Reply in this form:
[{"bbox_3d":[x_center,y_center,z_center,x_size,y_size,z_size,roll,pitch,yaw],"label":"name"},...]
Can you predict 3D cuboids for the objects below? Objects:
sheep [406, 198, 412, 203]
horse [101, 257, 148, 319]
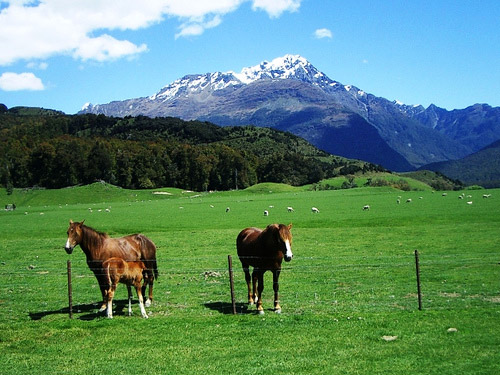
[{"bbox_3d":[25.910,2.121,88.195,0.424,0.958,1.810,-2,-2,14],"label":"sheep"},{"bbox_3d":[-6.518,5.213,28.385,1.227,3.138,4.436,-8,-12,22],"label":"horse"}]
